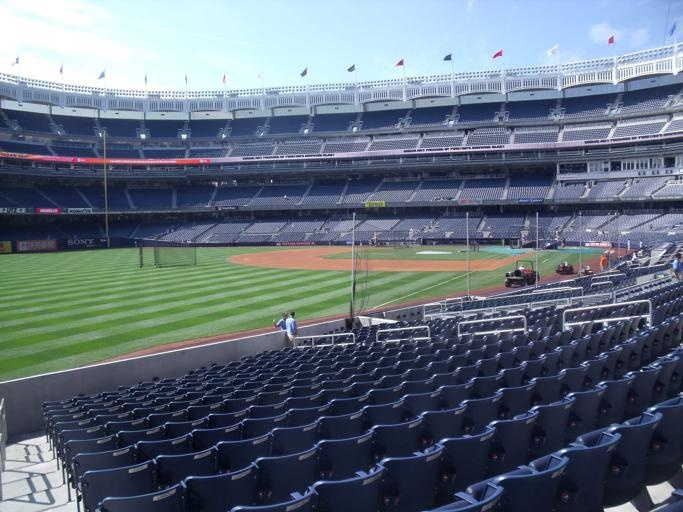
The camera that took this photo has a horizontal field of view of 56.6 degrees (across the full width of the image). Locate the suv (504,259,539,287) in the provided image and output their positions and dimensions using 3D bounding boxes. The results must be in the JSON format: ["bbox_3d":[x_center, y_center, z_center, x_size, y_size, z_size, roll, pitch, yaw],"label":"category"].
[{"bbox_3d":[9.890,0.959,35.046,2.750,1.115,1.416,-14,15,-41],"label":"suv"}]
